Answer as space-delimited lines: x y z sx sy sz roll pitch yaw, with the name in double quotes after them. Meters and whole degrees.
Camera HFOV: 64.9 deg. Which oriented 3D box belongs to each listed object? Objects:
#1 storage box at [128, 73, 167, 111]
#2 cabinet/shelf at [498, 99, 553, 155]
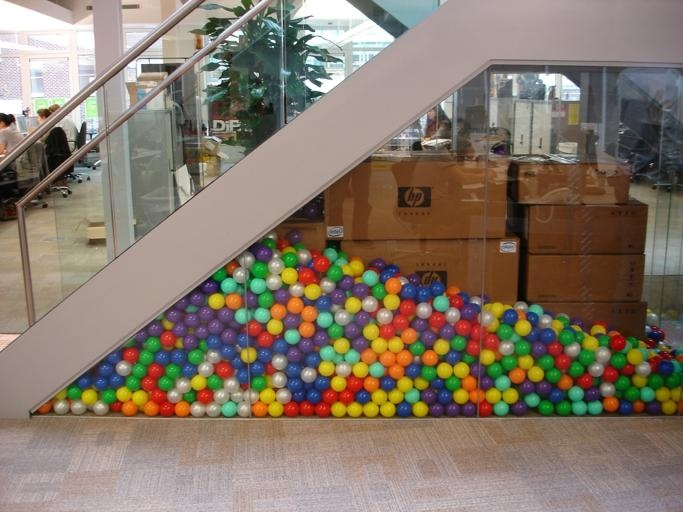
-1.154 -0.987 3.217 0.198 0.238 0.437 -4 11 -27 "storage box"
1.028 -0.741 3.027 0.283 0.312 0.098 -1 5 -1 "cabinet/shelf"
